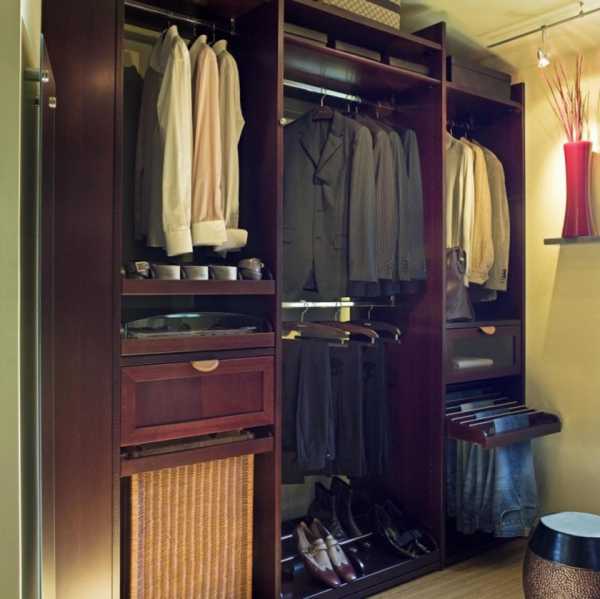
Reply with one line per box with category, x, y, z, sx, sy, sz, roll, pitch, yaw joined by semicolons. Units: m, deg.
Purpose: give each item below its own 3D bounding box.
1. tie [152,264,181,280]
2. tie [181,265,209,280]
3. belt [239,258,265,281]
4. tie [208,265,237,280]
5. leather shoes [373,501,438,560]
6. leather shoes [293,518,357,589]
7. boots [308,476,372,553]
tie;-0.451;-0.093;2.078;0.045;0.042;0.074;-1;3;-33
tie;-0.356;-0.092;2.146;0.057;0.054;0.048;1;2;35
belt;-0.183;-0.111;2.277;0.082;0.064;0.037;-4;2;-10
tie;-0.276;-0.108;2.203;0.062;0.060;0.054;1;3;27
leather shoes;0.453;1.038;2.804;0.134;0.126;0.258;0;10;-30
leather shoes;0.084;1.033;2.567;0.126;0.101;0.248;20;14;-43
boots;0.162;0.920;2.786;0.250;0.308;0.208;1;2;38
